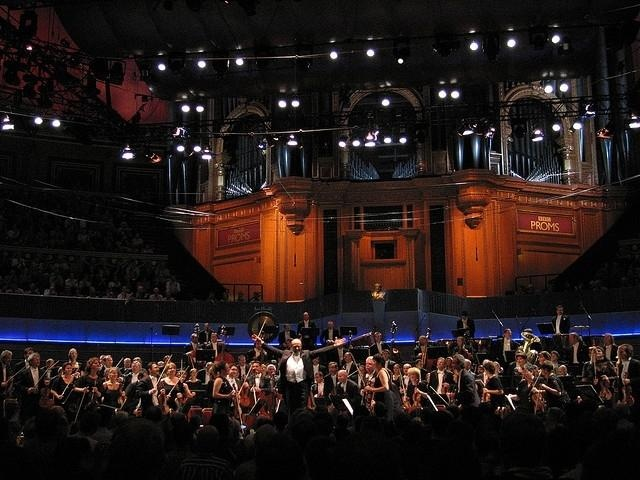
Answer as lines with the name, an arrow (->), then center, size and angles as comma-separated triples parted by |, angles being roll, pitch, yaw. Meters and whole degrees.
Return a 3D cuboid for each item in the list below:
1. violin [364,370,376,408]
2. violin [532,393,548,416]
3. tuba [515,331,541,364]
violin -> 0.994, 3.060, 15.252 | 0.192, 0.663, 0.428 | 7, 12, -1
violin -> 4.219, 3.166, 14.662 | 0.153, 0.426, 0.300 | -18, -6, -7
tuba -> 5.455, 2.707, 19.656 | 0.854, 0.844, 0.796 | -7, 2, 14
